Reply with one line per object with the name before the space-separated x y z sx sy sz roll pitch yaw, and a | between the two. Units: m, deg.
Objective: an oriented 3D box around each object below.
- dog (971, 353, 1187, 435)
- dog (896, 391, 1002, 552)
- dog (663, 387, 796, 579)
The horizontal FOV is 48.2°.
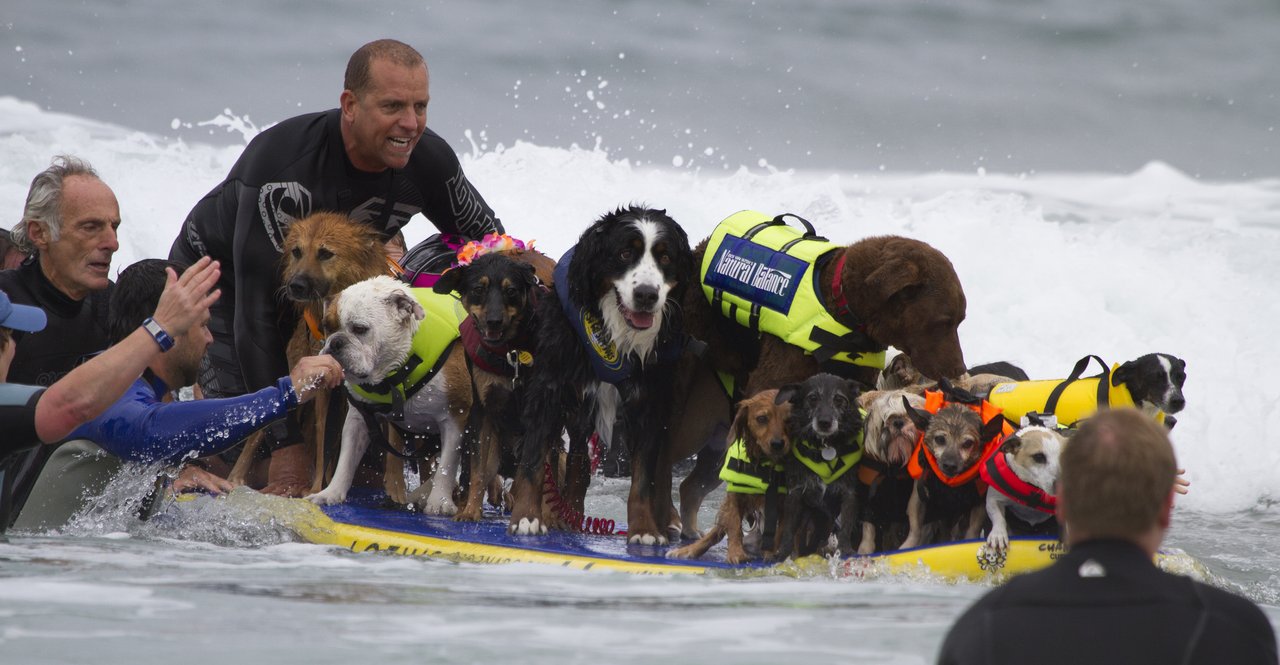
dog | 3.660 0.555 11.609 1.395 0.470 0.638 -3 -43 7
dog | 2.870 1.204 12.886 0.952 1.386 1.894 6 5 16
dog | 0.955 1.328 13.405 0.761 1.390 2.757 -1 -2 -9
